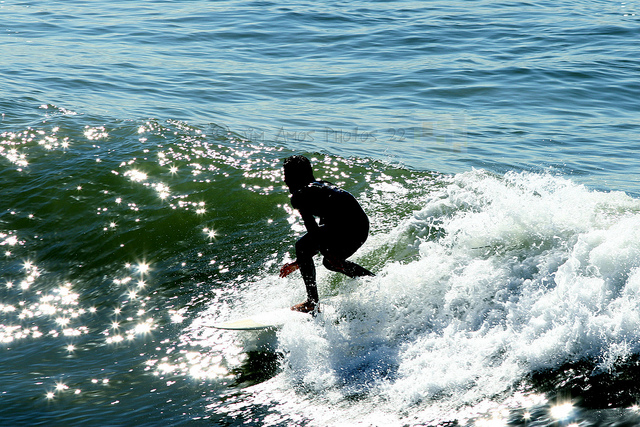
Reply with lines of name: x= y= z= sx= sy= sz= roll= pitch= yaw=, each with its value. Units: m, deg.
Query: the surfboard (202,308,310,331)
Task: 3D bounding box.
surfboard: x=-1.178 y=2.136 z=18.286 sx=2.599 sy=0.211 sz=0.285 roll=-6 pitch=57 yaw=13
